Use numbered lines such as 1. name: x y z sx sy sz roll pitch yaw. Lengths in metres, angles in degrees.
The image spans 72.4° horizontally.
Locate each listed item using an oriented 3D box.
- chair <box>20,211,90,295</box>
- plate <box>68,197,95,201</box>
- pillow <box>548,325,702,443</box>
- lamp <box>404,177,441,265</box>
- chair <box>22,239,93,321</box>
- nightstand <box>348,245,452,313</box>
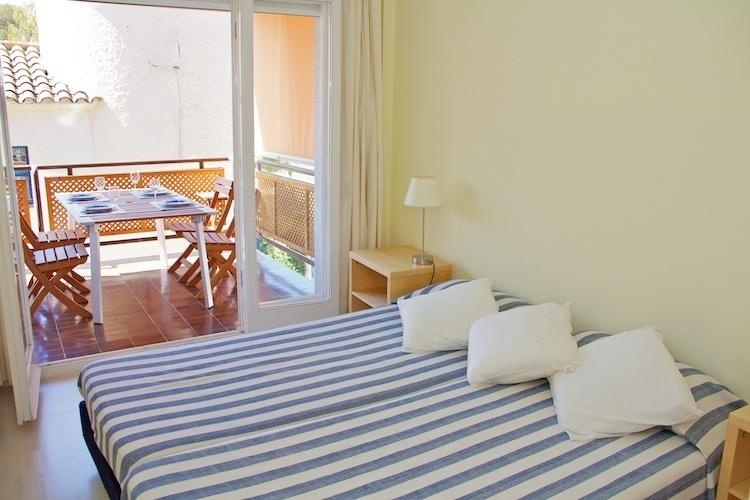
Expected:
1. chair: -3.241 0.058 5.189 0.645 0.761 0.799 -6 26 -29
2. plate: -3.226 -0.563 5.650 0.160 0.020 0.109 -4 15 -15
3. pillow: 1.279 0.729 2.716 0.587 0.152 0.580 -41 19 -33
4. lamp: 0.399 -0.264 4.352 0.295 0.720 0.488 6 22 6
5. chair: -3.069 0.319 5.113 0.825 0.696 0.774 -4 23 -26
6. nightstand: 0.222 0.228 4.466 0.648 0.754 0.832 -8 19 -24
